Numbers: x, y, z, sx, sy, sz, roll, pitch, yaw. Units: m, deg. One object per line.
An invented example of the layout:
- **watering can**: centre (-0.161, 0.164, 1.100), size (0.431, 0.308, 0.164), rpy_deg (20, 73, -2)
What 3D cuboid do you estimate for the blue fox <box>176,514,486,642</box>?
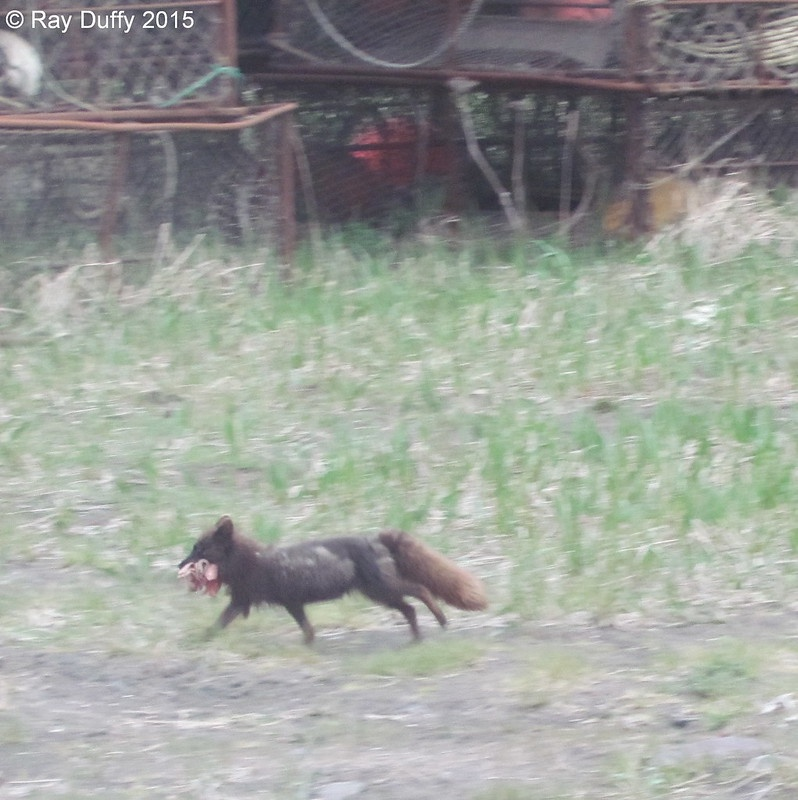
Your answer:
- **blue fox**: centre (-0.181, 0.565, 4.678), size (1.038, 0.355, 0.192), rpy_deg (-3, 2, 22)
